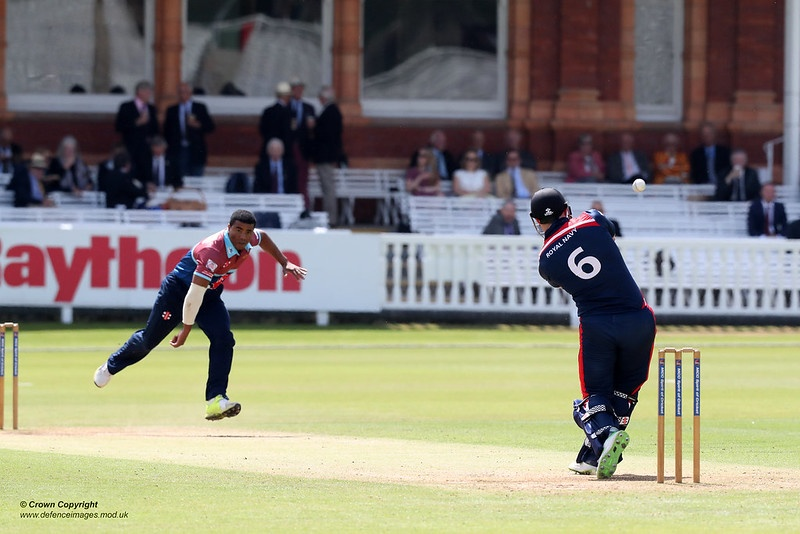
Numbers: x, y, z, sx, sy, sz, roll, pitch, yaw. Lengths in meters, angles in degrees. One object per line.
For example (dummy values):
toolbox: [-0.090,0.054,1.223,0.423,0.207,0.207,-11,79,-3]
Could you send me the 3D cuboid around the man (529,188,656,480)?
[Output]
man: [2.655,0.885,27.704,1.559,3.972,0.618,0,1,6]
